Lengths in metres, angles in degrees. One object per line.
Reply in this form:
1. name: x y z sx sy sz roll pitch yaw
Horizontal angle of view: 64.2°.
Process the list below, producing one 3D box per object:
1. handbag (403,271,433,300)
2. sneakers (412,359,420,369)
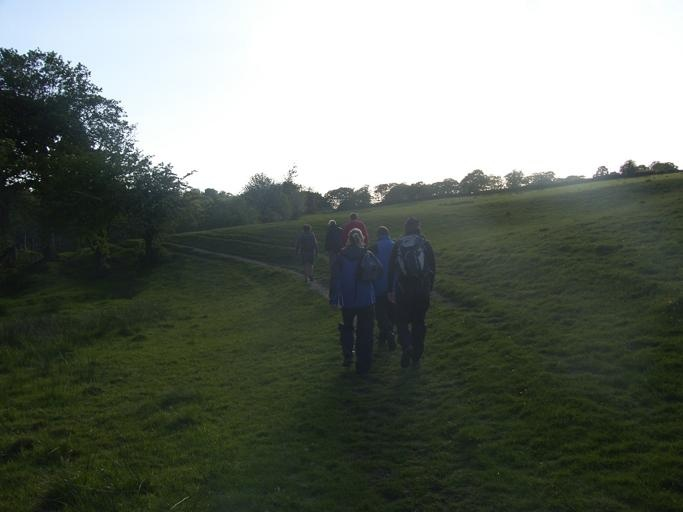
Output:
1. handbag: 1.966 0.747 14.298 0.922 0.982 0.542 1 -1 -5
2. sneakers: 1.996 2.932 14.874 0.204 0.237 0.205 -5 -1 -7
